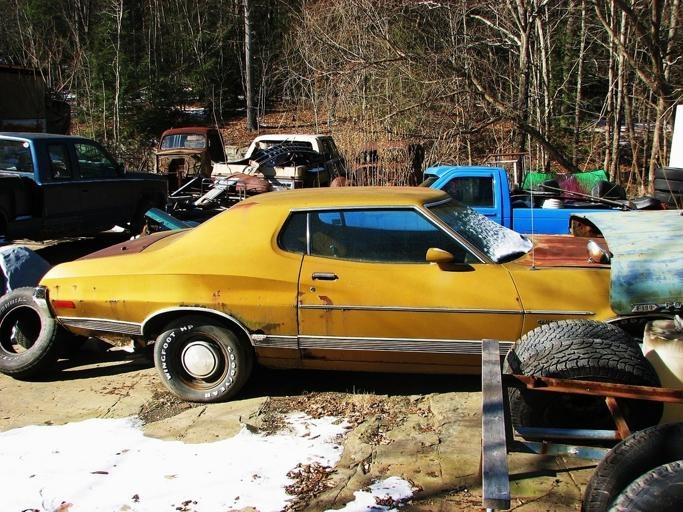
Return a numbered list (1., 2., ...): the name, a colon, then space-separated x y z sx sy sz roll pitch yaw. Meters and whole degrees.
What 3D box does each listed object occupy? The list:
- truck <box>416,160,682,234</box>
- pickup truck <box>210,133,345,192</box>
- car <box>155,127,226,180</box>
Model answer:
1. truck: 3.173 -0.957 8.502 3.353 1.024 1.755 1 9 0
2. pickup truck: -1.560 -2.636 14.506 2.335 1.494 3.310 4 14 24
3. car: -4.827 -3.287 16.341 1.674 1.074 2.374 -1 5 4
